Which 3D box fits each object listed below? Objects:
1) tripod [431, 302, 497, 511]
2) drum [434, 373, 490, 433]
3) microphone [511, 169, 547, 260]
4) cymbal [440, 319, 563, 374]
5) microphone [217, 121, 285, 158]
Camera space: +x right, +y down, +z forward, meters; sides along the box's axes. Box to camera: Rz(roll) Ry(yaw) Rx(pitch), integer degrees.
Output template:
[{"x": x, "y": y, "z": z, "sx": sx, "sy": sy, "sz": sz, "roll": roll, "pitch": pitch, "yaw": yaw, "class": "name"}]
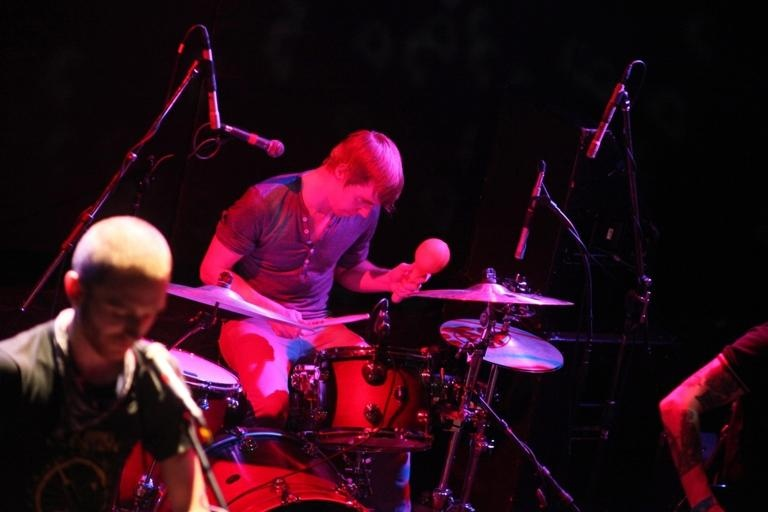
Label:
[{"x": 0.596, "y": 1.145, "z": 4.835, "sx": 0.148, "sy": 1.649, "sz": 0.189, "roll": 20, "pitch": -6, "yaw": -29, "class": "tripod"}, {"x": 0.476, "y": 0.945, "z": 4.540, "sx": 0.442, "sy": 0.432, "sz": 0.143, "roll": 12, "pitch": -8, "yaw": -34, "class": "drum"}, {"x": 1.127, "y": -0.301, "z": 5.122, "sx": 0.103, "sy": 0.719, "sz": 0.136, "roll": 17, "pitch": -3, "yaw": -16, "class": "microphone"}, {"x": 0.834, "y": 0.624, "z": 4.604, "sx": 0.523, "sy": 0.128, "sz": 0.521, "roll": 14, "pitch": 19, "yaw": -19, "class": "cymbal"}, {"x": -1.032, "y": -0.882, "z": 5.051, "sx": 0.640, "sy": 0.189, "sz": 0.196, "roll": 21, "pitch": -43, "yaw": 22, "class": "microphone"}]
